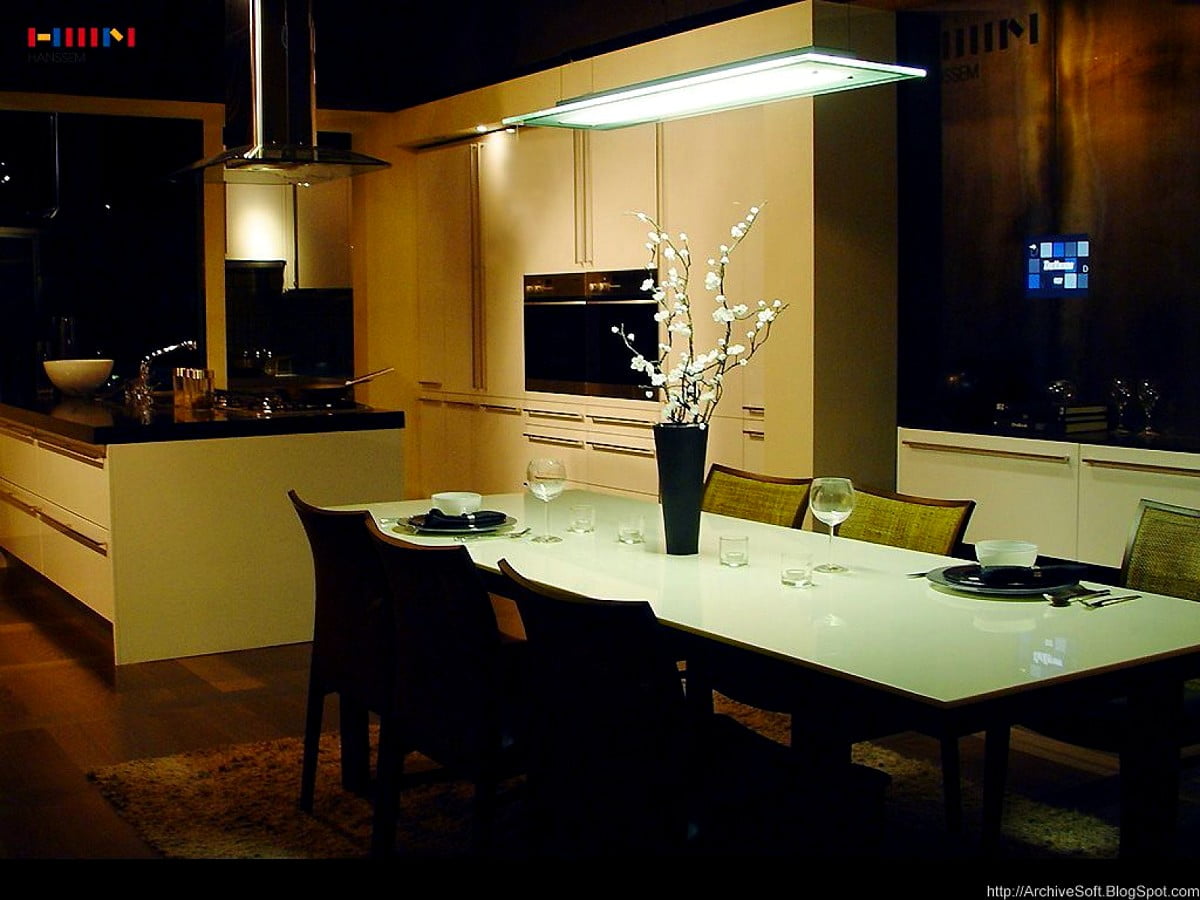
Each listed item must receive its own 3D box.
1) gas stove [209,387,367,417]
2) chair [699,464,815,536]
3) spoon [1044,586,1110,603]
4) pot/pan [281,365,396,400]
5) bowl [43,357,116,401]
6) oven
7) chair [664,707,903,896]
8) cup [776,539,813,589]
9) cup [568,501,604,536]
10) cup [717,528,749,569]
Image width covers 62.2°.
[{"bbox_3d":[-1.589,-0.254,4.948,0.755,0.095,0.718,-3,8,-12],"label":"gas stove"},{"bbox_3d":[0.562,0.158,3.545,0.235,0.432,0.295,1,-7,37],"label":"chair"},{"bbox_3d":[1.088,0.325,2.252,0.217,0.025,0.054,0,2,-41],"label":"spoon"},{"bbox_3d":[-1.725,-0.448,6.521,0.453,0.067,0.272,-11,8,-3],"label":"pot/pan"},{"bbox_3d":[-2.960,-0.410,5.609,0.266,0.147,0.267,0,1,0],"label":"bowl"},{"bbox_3d":[-0.173,-0.633,5.510,0.969,0.717,0.382,-7,13,-40],"label":"oven"},{"bbox_3d":[0.417,0.817,2.187,0.478,0.483,0.377,-6,-29,7],"label":"chair"},{"bbox_3d":[0.499,0.279,2.468,0.089,0.101,0.090,0,8,0],"label":"cup"},{"bbox_3d":[-0.050,0.219,3.153,0.075,0.059,0.068,-2,7,-17],"label":"cup"},{"bbox_3d":[0.356,0.265,2.653,0.078,0.067,0.068,1,4,-2],"label":"cup"}]
